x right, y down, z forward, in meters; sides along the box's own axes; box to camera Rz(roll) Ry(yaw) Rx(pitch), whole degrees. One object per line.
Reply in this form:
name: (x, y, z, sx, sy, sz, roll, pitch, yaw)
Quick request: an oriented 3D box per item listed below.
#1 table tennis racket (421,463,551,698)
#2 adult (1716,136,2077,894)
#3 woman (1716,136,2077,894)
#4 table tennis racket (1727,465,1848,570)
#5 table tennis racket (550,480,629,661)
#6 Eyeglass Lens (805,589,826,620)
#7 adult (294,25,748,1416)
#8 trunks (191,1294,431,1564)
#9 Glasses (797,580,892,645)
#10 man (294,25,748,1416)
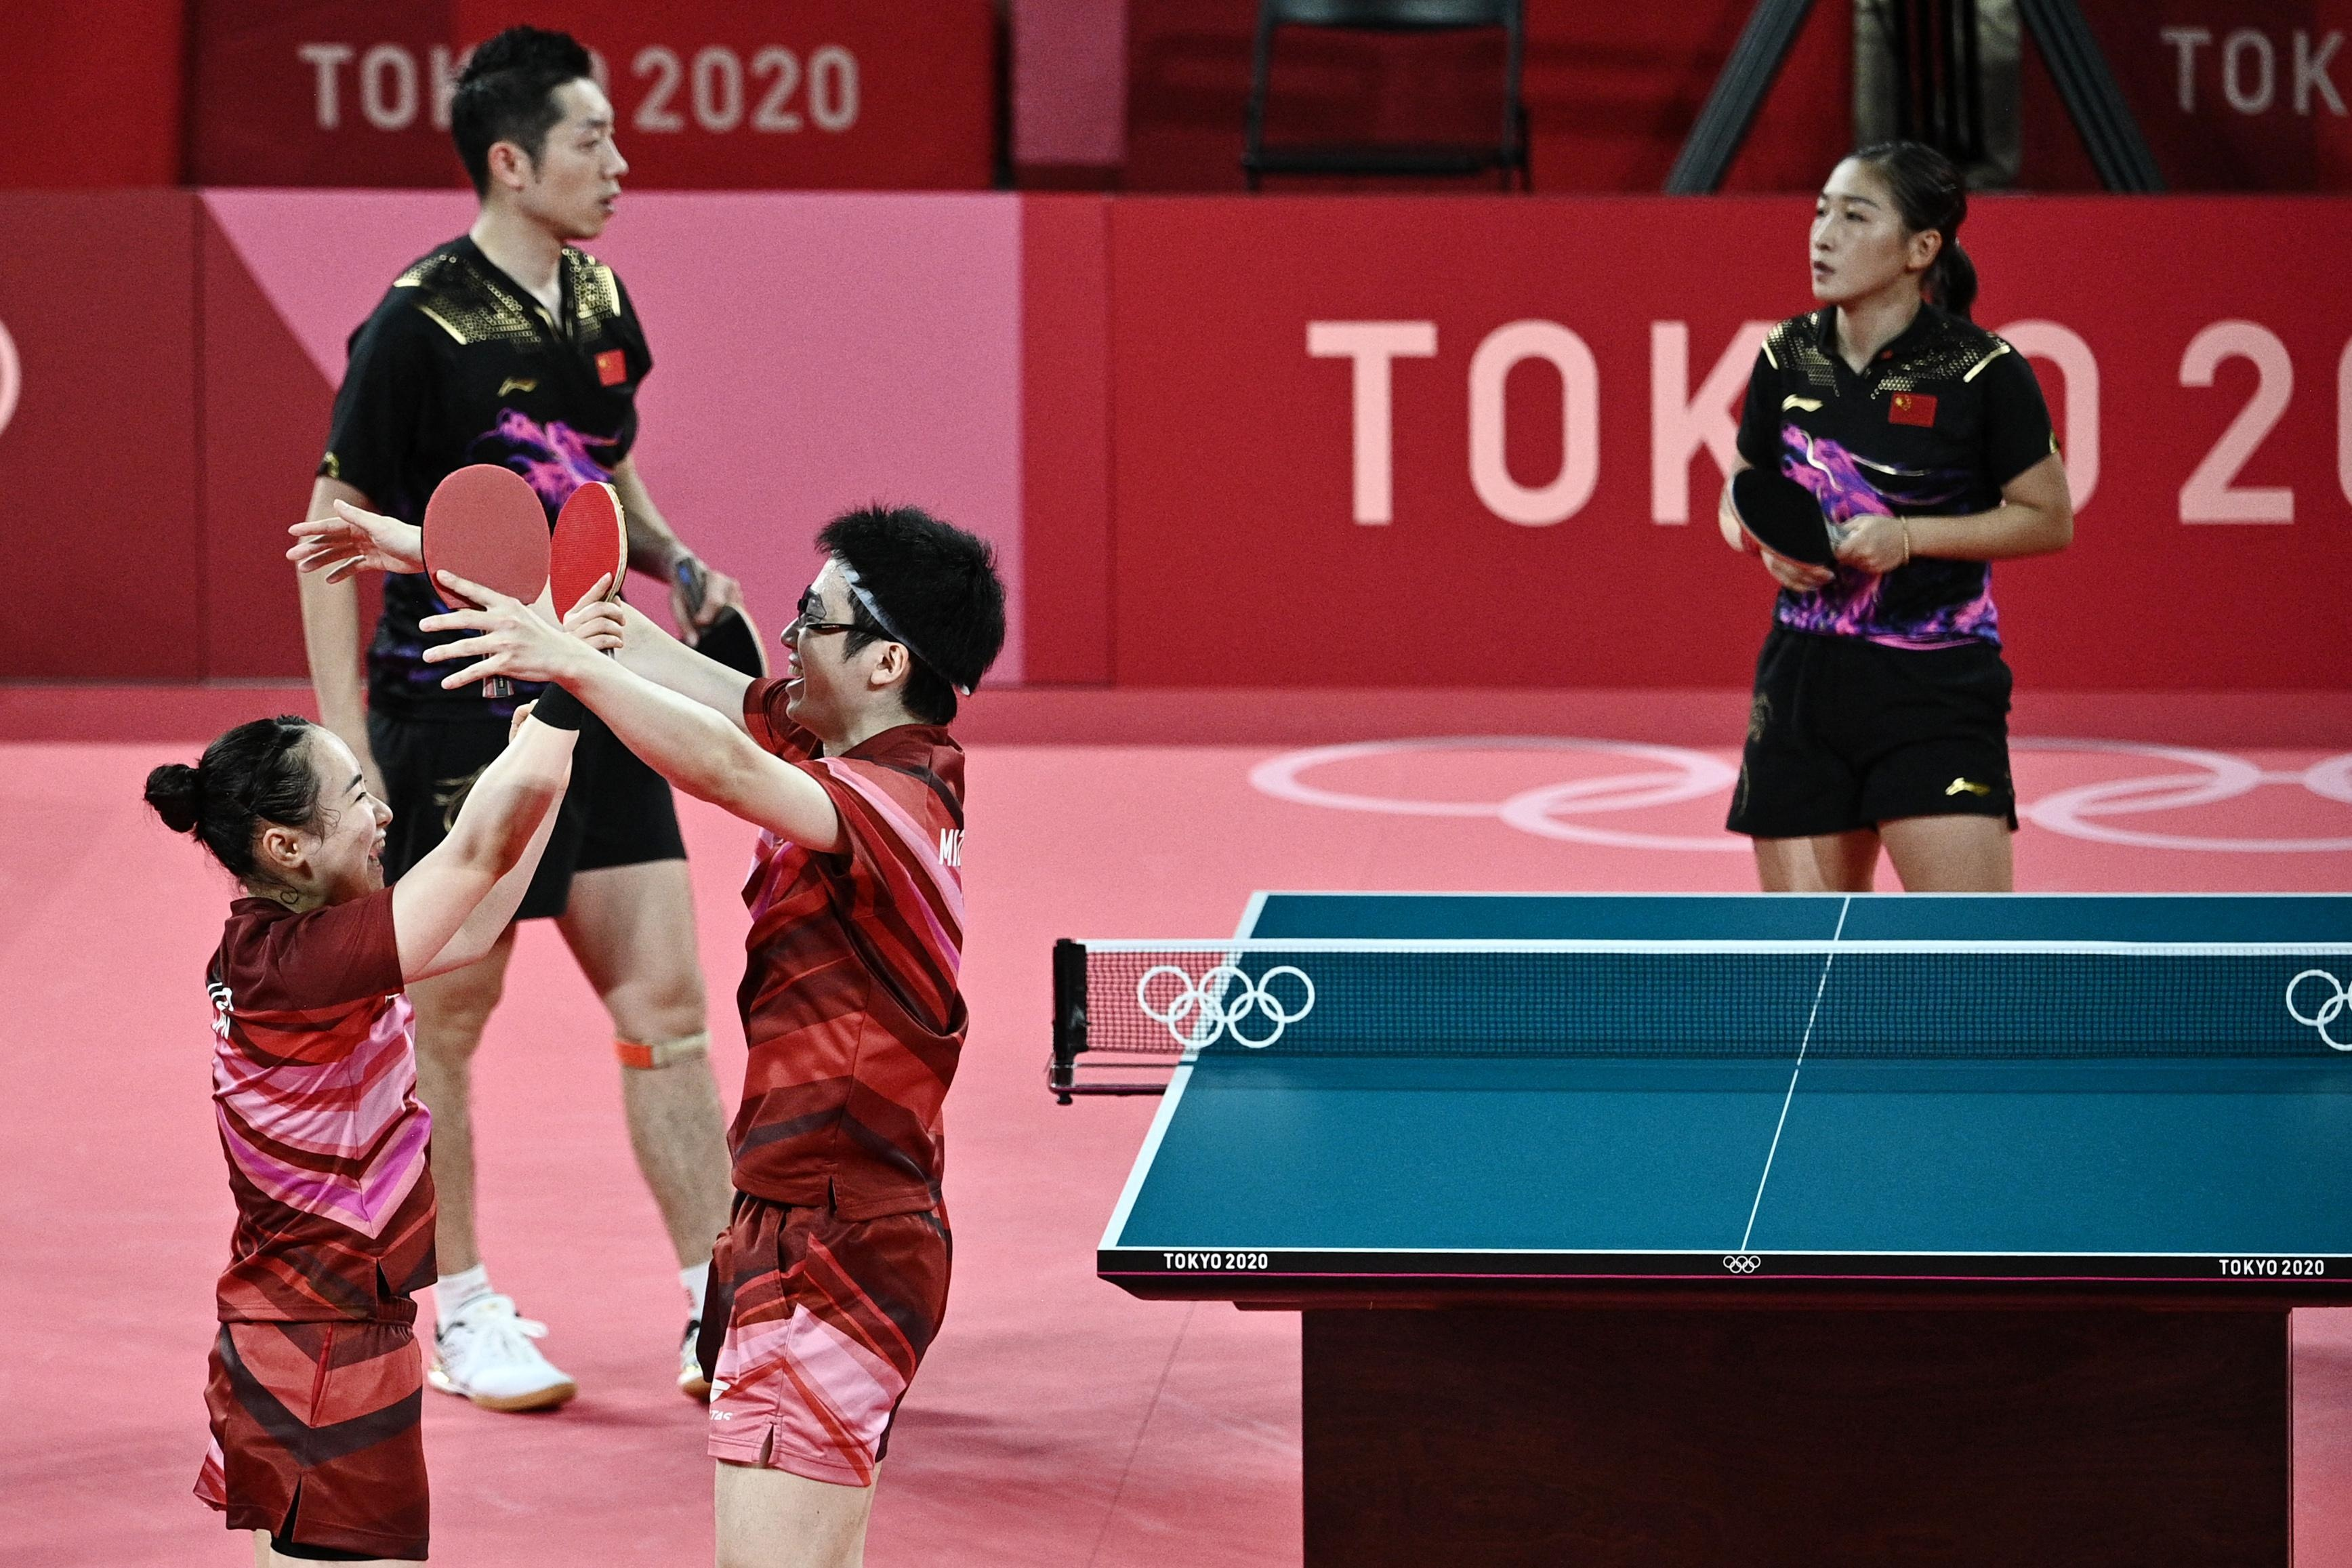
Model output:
table tennis racket: (-1.065, -0.389, 4.652, 0.191, 0.204, 0.147, -1, 9, -16)
adult: (1.446, -0.524, 6.068, 0.673, 1.525, 0.357, 3, 9, 11)
woman: (1.445, -0.524, 6.066, 0.674, 1.525, 0.353, 3, 9, 12)
table tennis racket: (1.207, -0.537, 5.981, 0.143, 0.040, 0.228, -7, 54, -42)
table tennis racket: (-0.921, -0.373, 4.702, 0.109, 0.201, 0.126, 0, 9, -8)
Eyeglass Lens: (-0.581, -0.293, 4.776, 0.045, 0.051, 0.035, -2, 5, -21)
adult: (-1.296, -0.108, 6.060, 0.874, 2.942, 0.897, -7, 20, -26)
trunks: (-1.318, 0.985, 4.827, 0.489, 0.407, 0.313, 0, -4, 19)
Glasses: (-0.522, -0.266, 4.757, 0.119, 0.040, 0.093, 13, 8, -26)
man: (-1.257, -0.128, 6.148, 0.907, 2.940, 0.856, -2, 20, -12)
